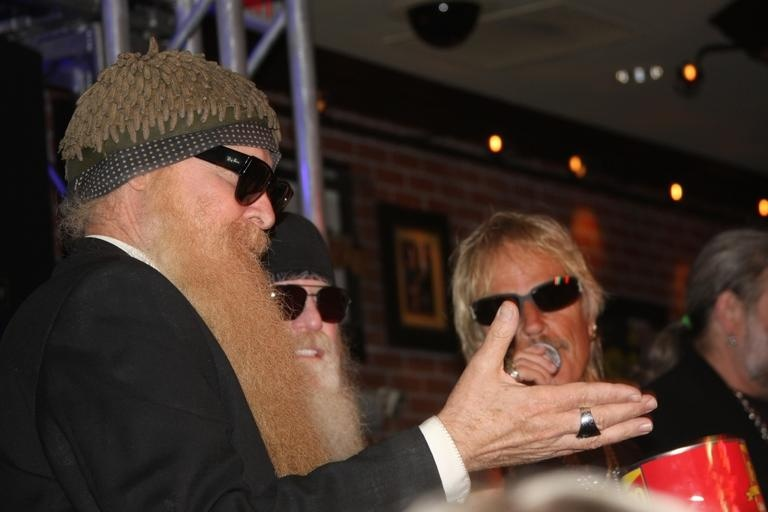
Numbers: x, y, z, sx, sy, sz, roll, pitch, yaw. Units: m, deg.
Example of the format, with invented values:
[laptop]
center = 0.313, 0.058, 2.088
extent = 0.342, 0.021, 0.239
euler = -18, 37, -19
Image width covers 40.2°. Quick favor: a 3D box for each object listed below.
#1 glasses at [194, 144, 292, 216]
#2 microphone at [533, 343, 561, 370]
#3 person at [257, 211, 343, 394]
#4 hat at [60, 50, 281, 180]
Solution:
[glasses]
center = -0.538, -0.325, 4.183
extent = 0.239, 0.085, 0.239
euler = 22, -15, 24
[microphone]
center = 0.758, 0.457, 4.783
extent = 0.024, 0.111, 0.105
euler = -22, 17, -32
[person]
center = -0.396, 0.211, 5.432
extent = 0.542, 0.798, 0.271
euler = -9, 17, -38
[hat]
center = -0.857, -0.604, 4.145
extent = 0.561, 0.357, 0.584
euler = -16, 12, 11
